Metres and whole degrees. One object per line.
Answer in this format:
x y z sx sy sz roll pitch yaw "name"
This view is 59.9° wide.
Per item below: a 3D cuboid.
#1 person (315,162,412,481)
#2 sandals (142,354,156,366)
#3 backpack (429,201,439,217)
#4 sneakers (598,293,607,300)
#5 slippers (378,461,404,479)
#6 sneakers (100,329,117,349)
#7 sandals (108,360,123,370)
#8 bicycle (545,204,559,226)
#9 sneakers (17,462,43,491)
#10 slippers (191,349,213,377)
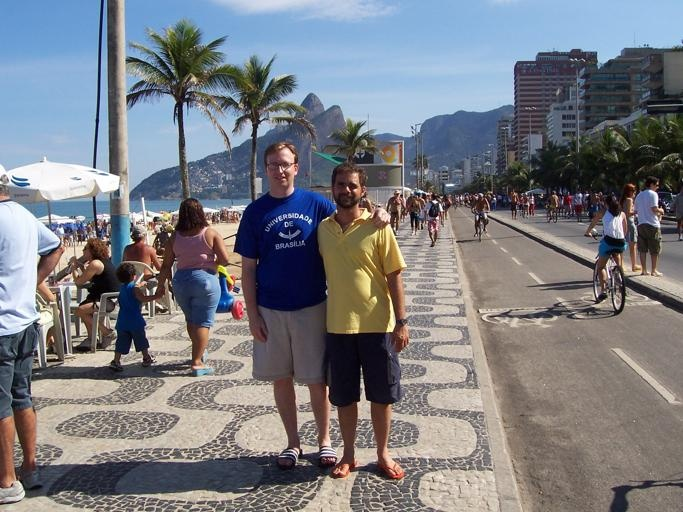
0.171 0.698 4.798 0.712 2.122 0.436 0 8 1 "person"
-2.435 1.305 7.500 0.086 0.092 0.205 1 10 5 "sandals"
3.823 -1.973 24.455 0.492 0.844 0.458 3 -29 9 "backpack"
4.888 0.742 11.077 0.159 0.165 0.093 2 10 -45 "sneakers"
0.400 1.715 4.808 0.099 0.065 0.169 -11 12 -40 "slippers"
-3.362 1.169 8.554 0.104 0.126 0.304 1 12 -2 "sneakers"
-2.773 1.326 7.293 0.154 0.141 0.182 -3 9 -22 "sandals"
14.307 -2.870 39.530 0.962 1.287 2.058 2 10 10 "bicycle"
-2.516 1.763 4.772 0.104 0.131 0.265 -1 8 -38 "sneakers"
-1.693 1.296 7.257 0.143 0.333 0.391 5 13 15 "slippers"
